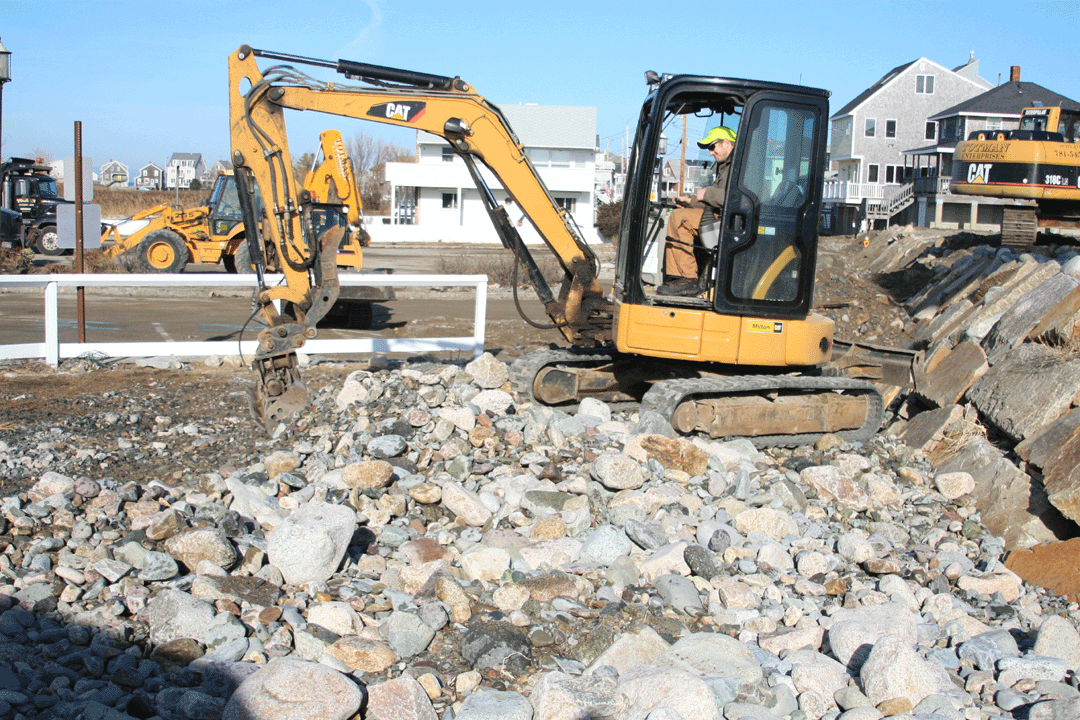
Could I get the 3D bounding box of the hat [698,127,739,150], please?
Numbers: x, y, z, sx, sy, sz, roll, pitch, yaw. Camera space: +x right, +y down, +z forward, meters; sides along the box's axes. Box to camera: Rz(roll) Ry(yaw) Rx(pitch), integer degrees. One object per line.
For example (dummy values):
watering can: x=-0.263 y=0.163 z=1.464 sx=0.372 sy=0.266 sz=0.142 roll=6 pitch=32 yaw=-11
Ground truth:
hat: x=1.876 y=-2.283 z=8.328 sx=0.288 sy=0.149 sz=0.204 roll=6 pitch=4 yaw=2

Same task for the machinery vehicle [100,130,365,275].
machinery vehicle: x=-8.436 y=-4.353 z=22.226 sx=7.033 sy=3.874 sz=2.092 roll=-1 pitch=8 yaw=-3

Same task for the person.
person: x=1.671 y=-1.541 z=8.355 sx=0.711 sy=1.709 sz=0.516 roll=3 pitch=15 yaw=12

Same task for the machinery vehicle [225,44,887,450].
machinery vehicle: x=0.192 y=-1.300 z=9.032 sx=6.871 sy=3.941 sz=2.600 roll=0 pitch=13 yaw=-1

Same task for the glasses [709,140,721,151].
glasses: x=1.828 y=-2.209 z=8.294 sx=0.074 sy=0.067 sz=0.057 roll=-12 pitch=2 yaw=-4
